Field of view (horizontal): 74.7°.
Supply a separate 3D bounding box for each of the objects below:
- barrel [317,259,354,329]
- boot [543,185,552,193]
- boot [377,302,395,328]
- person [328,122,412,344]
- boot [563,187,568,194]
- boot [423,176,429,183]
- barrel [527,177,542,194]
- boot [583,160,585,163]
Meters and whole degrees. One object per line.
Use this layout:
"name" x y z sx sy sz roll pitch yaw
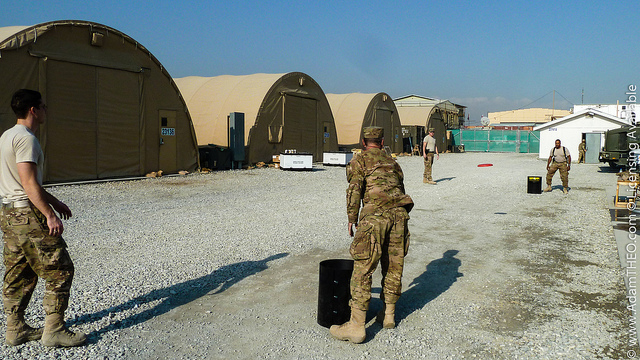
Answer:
"barrel" 0.159 1.765 6.670 0.727 0.933 0.614 1 1 -7
"boot" 8.761 0.328 16.198 0.256 0.250 0.639 7 10 37
"boot" 1.012 2.077 6.424 0.203 0.398 0.421 0 7 -5
"person" 0.850 0.770 6.466 1.071 3.138 1.236 2 8 11
"boot" 9.232 0.422 15.784 0.116 0.184 0.189 -7 24 4
"boot" 4.573 0.011 18.171 0.277 0.269 0.110 -4 -5 12
"barrel" 7.929 0.200 15.533 0.472 0.629 0.271 4 9 25
"boot" 20.273 -1.399 32.234 0.153 0.243 0.262 11 15 28
